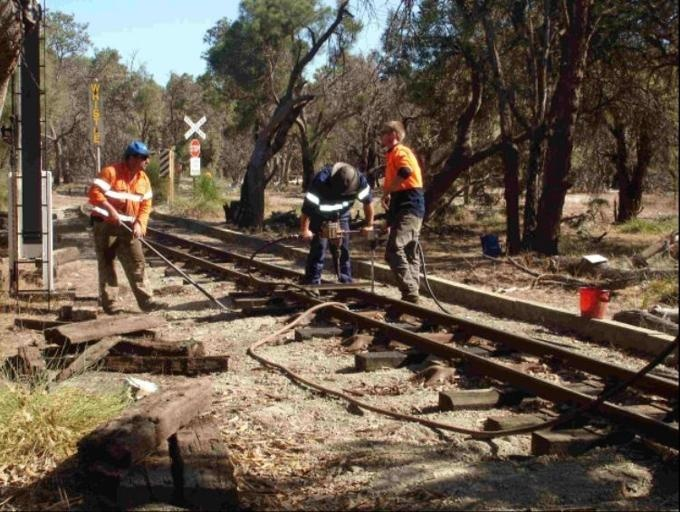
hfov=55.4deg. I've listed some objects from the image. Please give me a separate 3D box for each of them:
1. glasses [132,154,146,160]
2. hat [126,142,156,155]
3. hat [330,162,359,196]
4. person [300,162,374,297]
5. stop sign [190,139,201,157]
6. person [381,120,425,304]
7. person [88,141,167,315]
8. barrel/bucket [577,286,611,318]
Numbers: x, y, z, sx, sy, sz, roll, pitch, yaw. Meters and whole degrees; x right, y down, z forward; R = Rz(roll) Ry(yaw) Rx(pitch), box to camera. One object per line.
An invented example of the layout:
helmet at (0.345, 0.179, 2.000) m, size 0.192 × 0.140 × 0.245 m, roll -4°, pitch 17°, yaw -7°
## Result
glasses at (-2.679, -1.335, 8.671) m, size 0.093 × 0.078 × 0.154 m, roll 12°, pitch 1°, yaw 32°
hat at (-2.676, -1.436, 8.653) m, size 0.304 × 0.189 × 0.229 m, roll 0°, pitch 12°, yaw -24°
hat at (0.076, -1.172, 9.368) m, size 0.300 × 0.527 × 0.390 m, roll -6°, pitch 30°, yaw -7°
person at (-0.046, -0.475, 9.739) m, size 1.046 × 1.872 × 1.050 m, roll 4°, pitch 4°, yaw 2°
stop sign at (-5.587, -4.195, 24.997) m, size 0.335 × 0.749 × 0.962 m, roll 2°, pitch 4°, yaw -17°
person at (0.896, -0.651, 9.482) m, size 0.662 × 2.639 × 0.898 m, roll 4°, pitch 4°, yaw 6°
person at (-2.998, -0.415, 8.993) m, size 0.911 × 2.401 × 0.922 m, roll 2°, pitch 4°, yaw -19°
barrel/bucket at (3.309, 0.579, 8.402) m, size 0.372 × 0.408 × 0.361 m, roll -2°, pitch 2°, yaw 0°
